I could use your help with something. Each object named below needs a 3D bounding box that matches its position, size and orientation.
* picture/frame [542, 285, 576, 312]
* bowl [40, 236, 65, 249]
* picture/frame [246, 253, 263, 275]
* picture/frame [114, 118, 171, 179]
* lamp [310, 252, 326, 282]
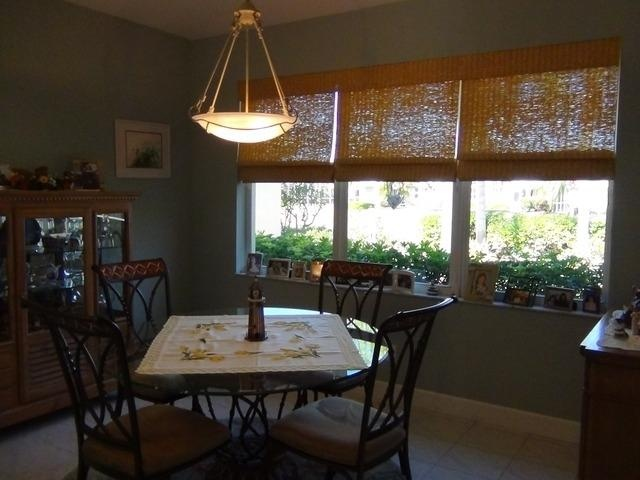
[{"bbox_3d":[1.685,0.418,3.442,0.154,0.191,0.025,-4,-8,39],"label":"picture/frame"},{"bbox_3d":[-1.922,0.020,3.515,0.075,0.075,0.107,3,2,19],"label":"bowl"},{"bbox_3d":[-0.610,0.227,4.545,0.180,0.236,0.031,2,0,28],"label":"picture/frame"},{"bbox_3d":[-1.612,-0.821,4.376,0.018,0.560,0.538,6,8,42],"label":"picture/frame"},{"bbox_3d":[-0.026,0.250,4.270,0.169,0.183,0.042,-1,-13,28],"label":"lamp"}]
